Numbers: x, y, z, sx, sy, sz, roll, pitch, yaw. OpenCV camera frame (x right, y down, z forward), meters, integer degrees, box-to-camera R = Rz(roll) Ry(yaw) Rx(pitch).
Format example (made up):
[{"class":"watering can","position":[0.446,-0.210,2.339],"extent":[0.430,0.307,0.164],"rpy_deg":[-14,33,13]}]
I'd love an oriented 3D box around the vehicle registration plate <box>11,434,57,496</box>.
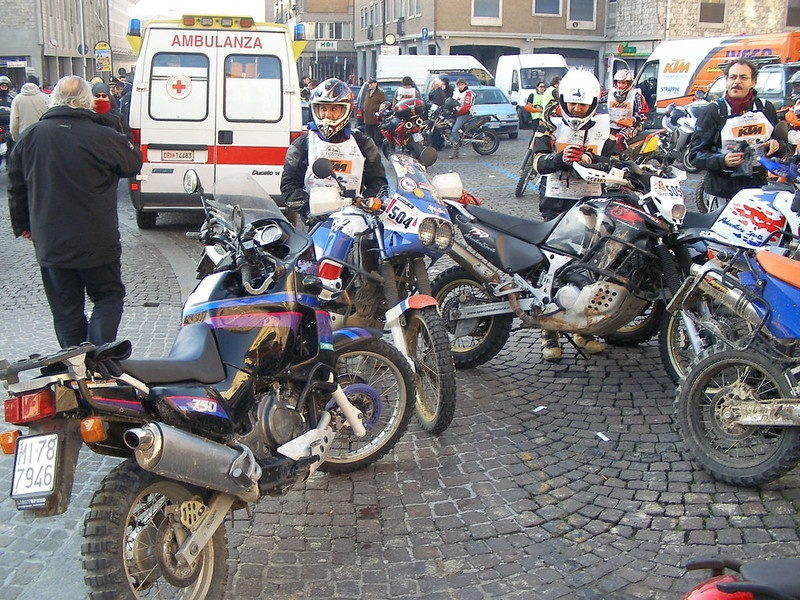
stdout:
[{"class":"vehicle registration plate","position":[-1.378,0.626,2.309],"extent":[0.240,0.236,0.027],"rpy_deg":[-13,-21,21]}]

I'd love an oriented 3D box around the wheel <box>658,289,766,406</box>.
[{"class":"wheel","position":[2.156,0.313,4.190],"extent":[0.202,0.864,0.919],"rpy_deg":[-9,-1,-29]}]

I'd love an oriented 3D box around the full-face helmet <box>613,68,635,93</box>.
[{"class":"full-face helmet","position":[5.059,-5.007,13.822],"extent":[0.436,0.515,0.530],"rpy_deg":[3,49,24]}]

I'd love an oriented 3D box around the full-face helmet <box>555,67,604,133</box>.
[{"class":"full-face helmet","position":[1.641,-1.877,5.681],"extent":[0.444,0.547,0.551],"rpy_deg":[5,58,13]}]

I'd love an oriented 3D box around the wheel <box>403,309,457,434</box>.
[{"class":"wheel","position":[0.197,0.544,4.423],"extent":[0.187,0.740,0.771],"rpy_deg":[-11,23,-16]}]

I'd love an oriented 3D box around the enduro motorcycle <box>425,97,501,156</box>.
[{"class":"enduro motorcycle","position":[1.744,-5.304,18.972],"extent":[2.650,1.457,1.075],"rpy_deg":[-3,11,-5]}]

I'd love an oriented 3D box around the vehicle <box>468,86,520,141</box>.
[{"class":"vehicle","position":[3.341,-6.793,21.639],"extent":[1.719,1.355,2.928],"rpy_deg":[-3,12,-5]}]

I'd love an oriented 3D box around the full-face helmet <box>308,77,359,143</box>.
[{"class":"full-face helmet","position":[-0.643,-1.841,5.735],"extent":[0.446,0.481,0.564],"rpy_deg":[6,26,4]}]

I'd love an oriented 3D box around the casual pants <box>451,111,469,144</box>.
[{"class":"casual pants","position":[1.768,-5.343,18.915],"extent":[0.291,0.836,0.645],"rpy_deg":[19,-7,-38]}]

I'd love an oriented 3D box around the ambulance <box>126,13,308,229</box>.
[{"class":"ambulance","position":[-2.843,-3.350,11.831],"extent":[3.350,3.156,5.380],"rpy_deg":[0,13,-5]}]

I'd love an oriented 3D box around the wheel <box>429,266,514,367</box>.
[{"class":"wheel","position":[0.602,0.129,5.274],"extent":[1.001,0.909,0.290],"rpy_deg":[3,1,32]}]
